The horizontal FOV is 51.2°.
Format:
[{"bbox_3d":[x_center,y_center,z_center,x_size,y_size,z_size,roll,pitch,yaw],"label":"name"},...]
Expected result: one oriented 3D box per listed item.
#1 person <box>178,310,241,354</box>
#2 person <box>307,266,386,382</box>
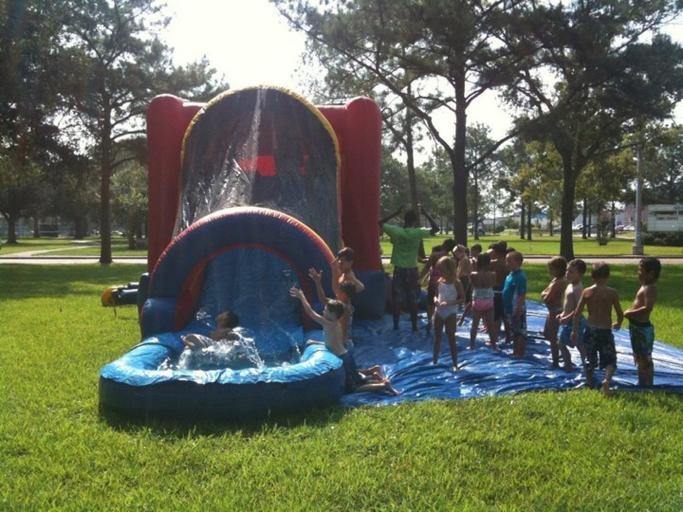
[{"bbox_3d":[-2.075,1.217,11.549,0.693,0.609,0.536,9,-16,-26],"label":"person"},{"bbox_3d":[0.072,1.229,10.952,1.325,2.079,0.738,-5,20,5],"label":"person"}]
